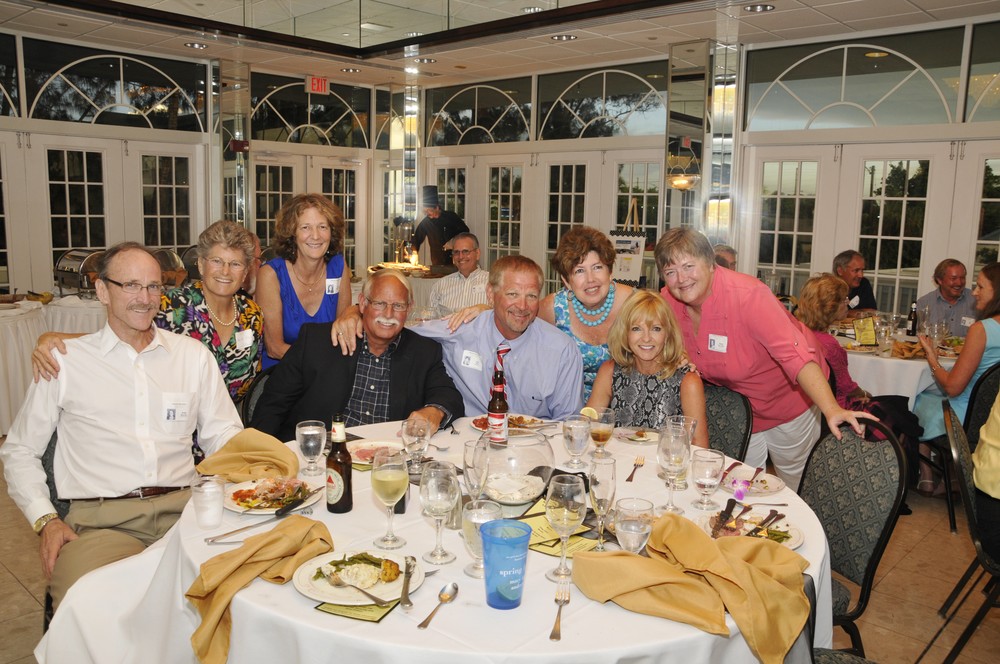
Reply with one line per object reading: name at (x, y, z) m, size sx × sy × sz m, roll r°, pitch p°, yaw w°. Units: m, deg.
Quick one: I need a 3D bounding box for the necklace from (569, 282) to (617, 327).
necklace at (0.583, -0.181, 4.371) m, size 0.228 × 0.120 × 0.294 m, roll -2°, pitch 10°, yaw -1°

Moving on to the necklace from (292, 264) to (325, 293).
necklace at (-1.284, -0.349, 4.649) m, size 0.152 × 0.219 × 0.056 m, roll -1°, pitch 22°, yaw -15°

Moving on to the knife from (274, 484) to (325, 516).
knife at (-0.804, 0.666, 2.871) m, size 0.043 × 0.028 × 0.345 m, roll 17°, pitch 16°, yaw 18°

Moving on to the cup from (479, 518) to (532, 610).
cup at (0.019, 0.783, 2.367) m, size 0.159 × 0.296 × 0.118 m, roll -3°, pitch 11°, yaw -12°

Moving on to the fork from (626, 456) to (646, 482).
fork at (0.617, 0.623, 3.176) m, size 0.042 × 0.037 × 0.210 m, roll 5°, pitch 22°, yaw 16°

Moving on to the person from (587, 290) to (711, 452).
person at (0.832, 0.216, 3.759) m, size 0.718 × 1.019 × 0.531 m, roll 2°, pitch 15°, yaw 24°

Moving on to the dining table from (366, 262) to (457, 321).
dining table at (-0.981, -0.402, 7.750) m, size 0.811 × 0.530 × 0.827 m, roll 1°, pitch 7°, yaw -6°

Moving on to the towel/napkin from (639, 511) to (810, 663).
towel/napkin at (0.805, 0.872, 2.420) m, size 0.451 × 0.161 × 0.463 m, roll 8°, pitch 54°, yaw 11°

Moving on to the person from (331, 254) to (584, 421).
person at (-0.238, 0.048, 4.226) m, size 1.119 × 1.401 × 0.485 m, roll 10°, pitch 32°, yaw 9°

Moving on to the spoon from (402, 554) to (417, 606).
spoon at (-0.311, 0.858, 2.402) m, size 0.053 × 0.019 × 0.230 m, roll 8°, pitch 17°, yaw -8°

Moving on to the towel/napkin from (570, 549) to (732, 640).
towel/napkin at (0.518, 0.871, 2.369) m, size 0.384 × 0.122 × 0.262 m, roll 10°, pitch 0°, yaw 2°

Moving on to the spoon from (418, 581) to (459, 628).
spoon at (-0.203, 0.888, 2.344) m, size 0.050 × 0.035 × 0.233 m, roll 6°, pitch 23°, yaw 16°

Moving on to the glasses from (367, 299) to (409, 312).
glasses at (-0.609, -0.139, 3.747) m, size 0.203 × 0.065 × 0.054 m, roll -1°, pitch 10°, yaw -1°

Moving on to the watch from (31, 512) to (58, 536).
watch at (-2.107, 0.872, 3.218) m, size 0.067 × 0.097 × 0.096 m, roll 40°, pitch 14°, yaw -10°

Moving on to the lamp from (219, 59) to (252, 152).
lamp at (-3.480, -2.940, 9.154) m, size 0.388 × 1.150 × 0.150 m, roll -5°, pitch 11°, yaw -20°

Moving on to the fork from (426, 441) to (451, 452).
fork at (-0.286, 0.545, 3.329) m, size 0.143 × 0.027 × 0.038 m, roll 1°, pitch 9°, yaw 25°

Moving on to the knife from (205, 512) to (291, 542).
knife at (-0.976, 0.746, 2.674) m, size 0.297 × 0.012 × 0.097 m, roll -13°, pitch 31°, yaw -36°

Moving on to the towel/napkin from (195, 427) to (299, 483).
towel/napkin at (-1.087, 0.548, 3.044) m, size 0.251 × 0.081 × 0.257 m, roll 1°, pitch 13°, yaw -11°

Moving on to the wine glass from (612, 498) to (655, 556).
wine glass at (0.485, 0.670, 2.530) m, size 0.172 × 0.210 × 0.180 m, roll 0°, pitch 4°, yaw 30°
